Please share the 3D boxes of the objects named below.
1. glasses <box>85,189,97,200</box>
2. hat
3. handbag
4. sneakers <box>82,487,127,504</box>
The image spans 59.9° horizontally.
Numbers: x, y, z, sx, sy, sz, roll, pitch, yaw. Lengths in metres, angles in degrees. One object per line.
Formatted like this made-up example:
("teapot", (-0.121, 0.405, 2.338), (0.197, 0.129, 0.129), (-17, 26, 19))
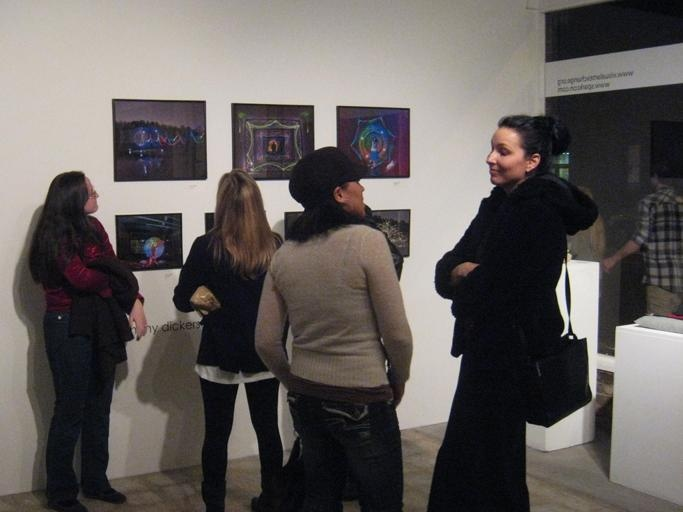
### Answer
("glasses", (-1.702, -0.422, 4.030), (0.059, 0.065, 0.061), (-1, -23, 4))
("hat", (-0.057, -0.389, 2.845), (0.337, 0.178, 0.248), (-36, 21, -13))
("handbag", (1.095, 0.620, 2.988), (0.380, 0.406, 0.125), (-4, 8, -30))
("sneakers", (-1.651, 1.639, 4.134), (0.275, 0.083, 0.110), (3, 0, 13))
